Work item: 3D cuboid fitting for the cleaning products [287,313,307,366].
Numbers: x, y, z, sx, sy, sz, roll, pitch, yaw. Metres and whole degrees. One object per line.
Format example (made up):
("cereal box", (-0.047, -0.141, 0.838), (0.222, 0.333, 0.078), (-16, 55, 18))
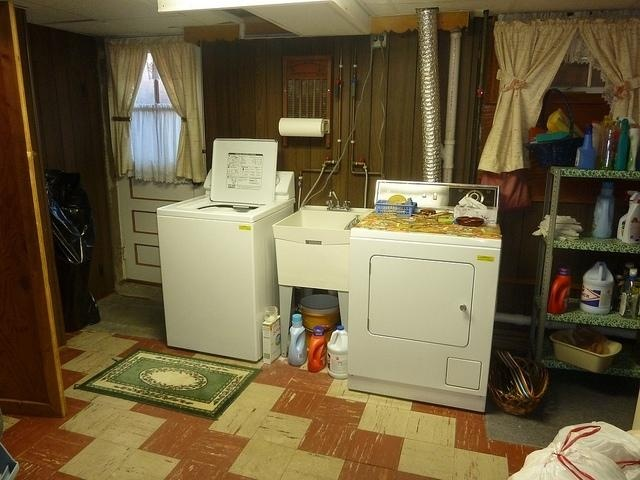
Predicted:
("cleaning products", (-0.169, 0.751, 3.619), (0.144, 0.390, 0.212), (-1, 15, -1))

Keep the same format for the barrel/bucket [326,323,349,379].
("barrel/bucket", (0.145, 0.835, 3.487), (0.194, 0.356, 0.203), (2, 13, 0))

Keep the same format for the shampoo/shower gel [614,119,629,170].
("shampoo/shower gel", (1.942, -0.602, 3.016), (0.078, 0.316, 0.131), (9, 17, 32))

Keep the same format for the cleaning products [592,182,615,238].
("cleaning products", (1.930, -0.193, 3.208), (0.162, 0.380, 0.121), (-14, 20, -41))

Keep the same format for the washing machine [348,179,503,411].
("washing machine", (0.727, 0.376, 3.383), (0.992, 1.464, 0.852), (6, 10, 19))

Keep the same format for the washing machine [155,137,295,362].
("washing machine", (-0.730, 0.046, 3.796), (0.835, 1.619, 0.731), (4, 15, 17))

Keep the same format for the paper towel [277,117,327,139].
("paper towel", (-0.127, -0.931, 3.964), (0.414, 0.165, 0.260), (1, 15, 5))

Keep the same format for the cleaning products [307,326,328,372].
("cleaning products", (0.001, 0.810, 3.551), (0.109, 0.327, 0.233), (11, 18, 37))

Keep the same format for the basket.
("basket", (1.286, 0.928, 3.145), (0.345, 0.247, 0.389), (-15, 24, -12))

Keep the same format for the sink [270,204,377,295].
("sink", (0.017, 0.107, 3.666), (0.644, 0.489, 0.697), (3, 10, 17))

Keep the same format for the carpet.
("carpet", (-1.062, 1.017, 3.393), (1.130, 0.063, 0.564), (4, 16, 15))

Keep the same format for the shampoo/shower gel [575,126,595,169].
("shampoo/shower gel", (1.750, -0.590, 3.077), (0.105, 0.258, 0.111), (3, 15, 13))

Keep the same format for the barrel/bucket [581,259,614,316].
("barrel/bucket", (1.917, 0.326, 3.239), (0.197, 0.341, 0.190), (-1, 15, 0))

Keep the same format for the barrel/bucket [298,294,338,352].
("barrel/bucket", (-0.001, 0.655, 3.743), (0.302, 0.244, 0.309), (1, 8, 0))

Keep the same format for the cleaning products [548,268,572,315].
("cleaning products", (1.660, 0.348, 3.268), (0.125, 0.310, 0.209), (7, 17, 27))
